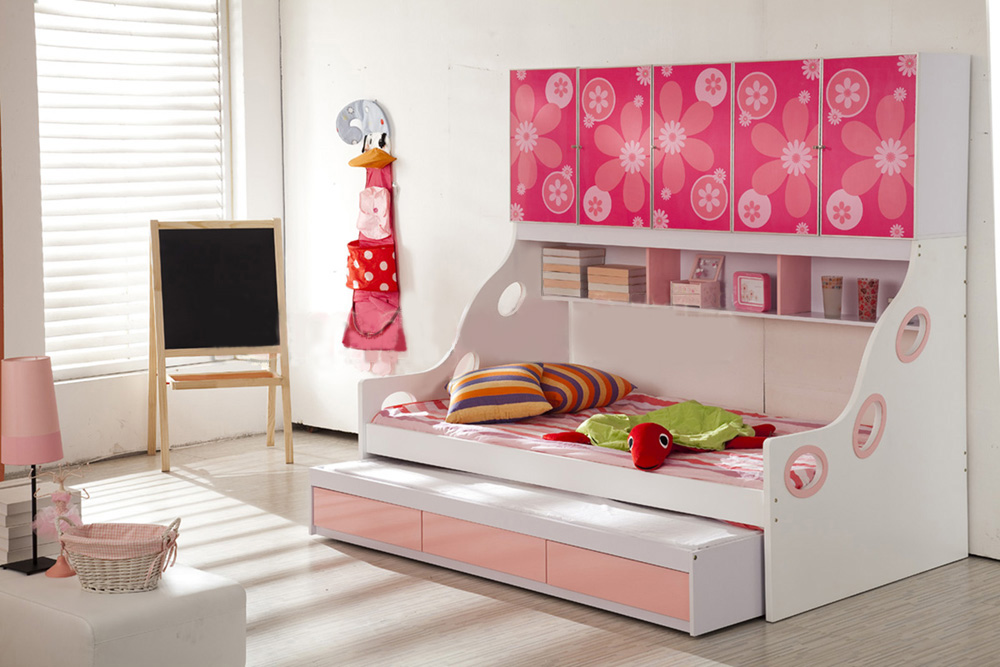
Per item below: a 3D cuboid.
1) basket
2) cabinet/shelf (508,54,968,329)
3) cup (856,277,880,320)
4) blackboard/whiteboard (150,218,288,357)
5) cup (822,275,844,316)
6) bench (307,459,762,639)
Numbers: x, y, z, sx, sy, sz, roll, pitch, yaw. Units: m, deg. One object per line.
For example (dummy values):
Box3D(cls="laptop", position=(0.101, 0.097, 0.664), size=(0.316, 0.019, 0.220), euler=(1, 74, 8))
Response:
Box3D(cls="basket", position=(-1.140, 0.644, 2.304), size=(0.317, 0.174, 0.229), euler=(3, 2, -15))
Box3D(cls="cabinet/shelf", position=(1.079, -0.959, 3.921), size=(2.128, 0.720, 0.537), euler=(10, 20, 34))
Box3D(cls="cup", position=(1.653, -0.151, 3.430), size=(0.085, 0.180, 0.145), euler=(2, 9, 25))
Box3D(cls="blackboard/whiteboard", position=(-1.875, -0.286, 5.067), size=(0.931, 1.024, 0.049), euler=(-3, 1, -12))
Box3D(cls="cup", position=(1.545, -0.175, 3.552), size=(0.089, 0.186, 0.208), euler=(2, 9, 23))
Box3D(cls="bench", position=(0.116, 0.885, 3.350), size=(1.966, 0.373, 0.355), euler=(4, 10, 34))
